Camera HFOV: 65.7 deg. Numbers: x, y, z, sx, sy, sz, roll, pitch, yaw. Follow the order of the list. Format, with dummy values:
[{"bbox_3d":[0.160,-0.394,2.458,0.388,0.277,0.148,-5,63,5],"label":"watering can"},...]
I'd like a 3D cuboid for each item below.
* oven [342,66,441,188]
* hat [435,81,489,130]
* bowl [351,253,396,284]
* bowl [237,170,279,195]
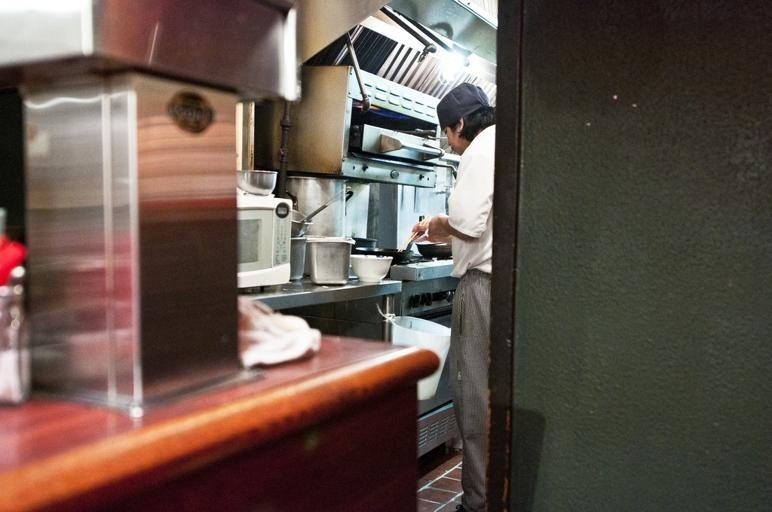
[{"bbox_3d":[-0.049,-0.825,4.009,0.644,0.592,1.201,9,7,33],"label":"oven"},{"bbox_3d":[0.378,-0.778,3.021,0.261,0.190,0.190,3,15,20],"label":"hat"},{"bbox_3d":[-0.073,0.065,3.208,0.197,0.164,0.259,6,14,21],"label":"bowl"},{"bbox_3d":[-0.562,-0.331,2.602,0.131,0.075,0.126,-3,9,0],"label":"bowl"}]
